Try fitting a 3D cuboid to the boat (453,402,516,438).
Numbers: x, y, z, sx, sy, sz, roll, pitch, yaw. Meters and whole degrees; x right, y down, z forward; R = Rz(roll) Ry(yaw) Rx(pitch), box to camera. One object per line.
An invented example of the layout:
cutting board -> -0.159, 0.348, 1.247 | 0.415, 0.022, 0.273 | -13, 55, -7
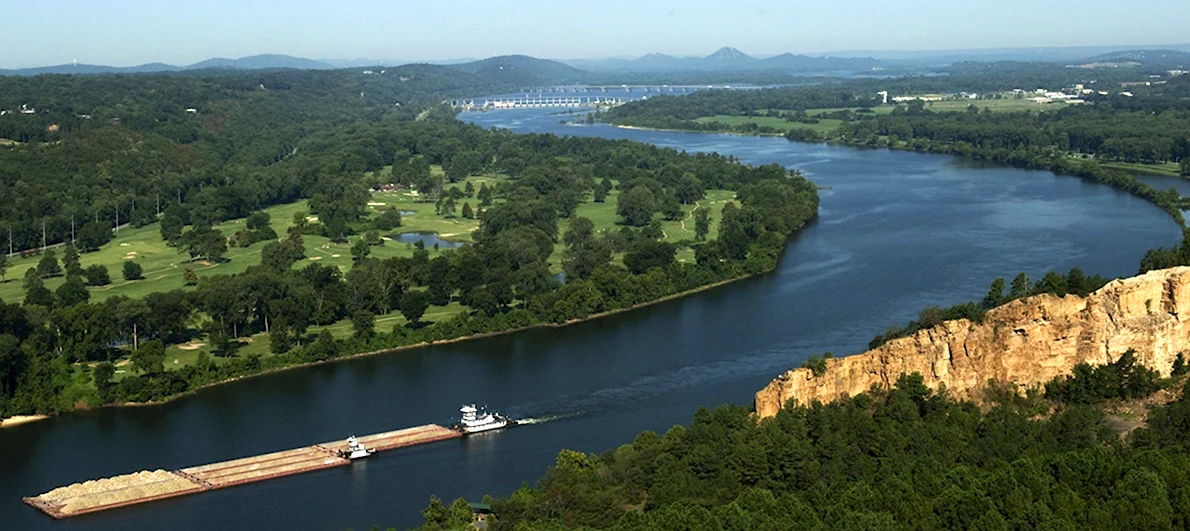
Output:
boat -> -11.709, 16.048, 112.021 | 5.585, 2.654, 2.450 | -5, 18, -8
